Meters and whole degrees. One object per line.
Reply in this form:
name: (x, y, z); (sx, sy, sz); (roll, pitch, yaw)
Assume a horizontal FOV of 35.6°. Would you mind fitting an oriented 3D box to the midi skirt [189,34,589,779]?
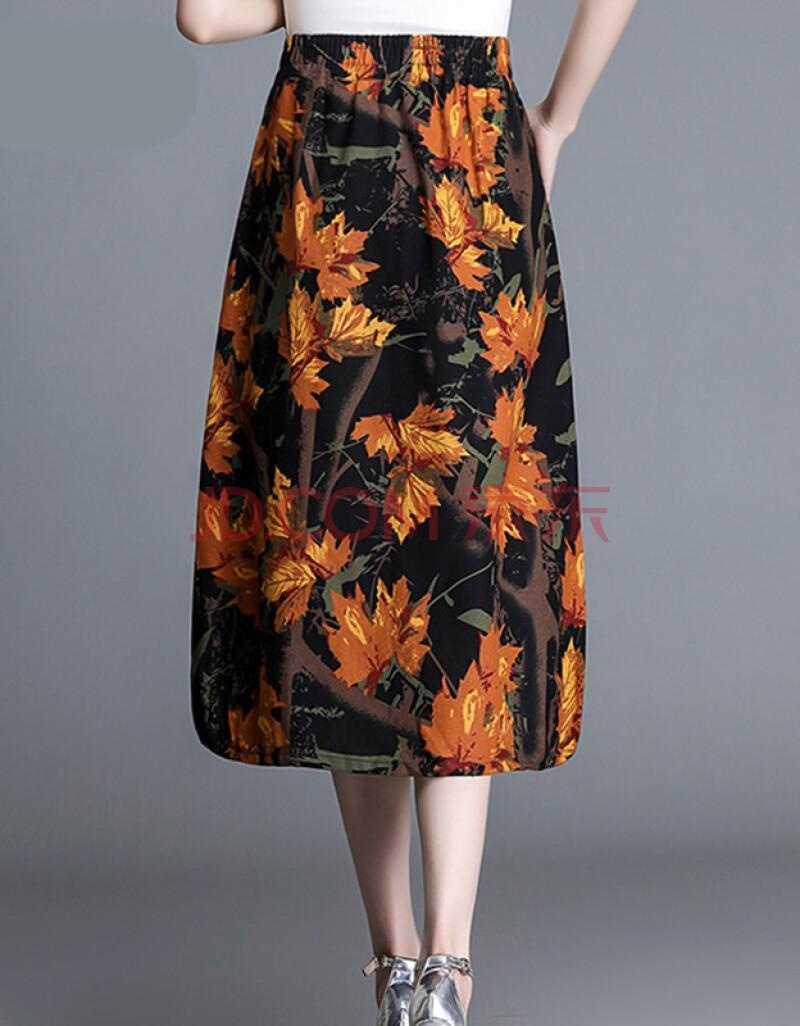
midi skirt: (-0.023, -0.103, 1.203); (0.389, 0.713, 0.176); (2, 9, 12)
